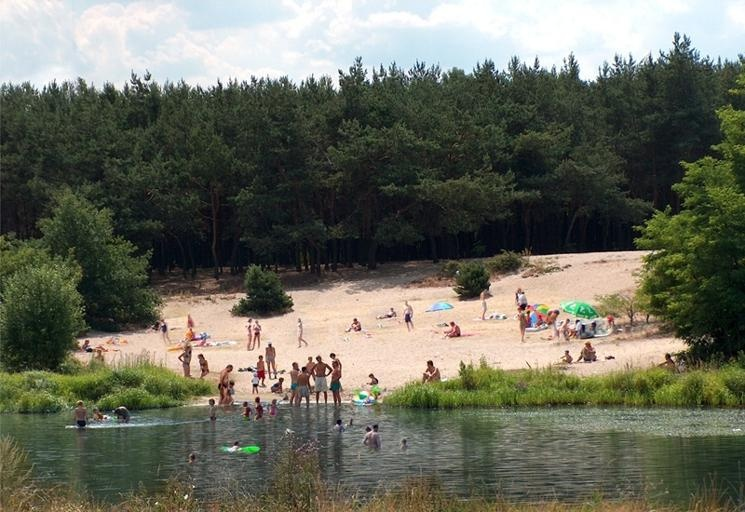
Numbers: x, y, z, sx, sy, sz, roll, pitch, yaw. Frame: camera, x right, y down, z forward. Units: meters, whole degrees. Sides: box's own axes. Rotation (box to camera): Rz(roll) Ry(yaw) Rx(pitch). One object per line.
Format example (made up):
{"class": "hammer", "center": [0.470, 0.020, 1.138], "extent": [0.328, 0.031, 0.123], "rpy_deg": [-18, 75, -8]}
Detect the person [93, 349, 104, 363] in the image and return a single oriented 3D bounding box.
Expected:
{"class": "person", "center": [-22.547, 8.111, 127.037], "extent": [0.905, 1.351, 0.899], "rpy_deg": [-1, 3, -44]}

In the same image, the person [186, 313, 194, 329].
{"class": "person", "center": [-16.198, 5.496, 136.903], "extent": [0.914, 0.901, 1.749], "rpy_deg": [2, -25, -5]}

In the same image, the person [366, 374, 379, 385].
{"class": "person", "center": [-0.010, 9.410, 119.963], "extent": [0.858, 0.861, 2.840], "rpy_deg": [-2, -4, 0]}

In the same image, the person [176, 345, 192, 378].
{"class": "person", "center": [-15.187, 8.478, 124.483], "extent": [0.875, 2.850, 1.240], "rpy_deg": [-25, -30, 28]}

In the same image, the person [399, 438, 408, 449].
{"class": "person", "center": [2.164, 12.936, 108.045], "extent": [0.547, 0.686, 1.088], "rpy_deg": [-2, -4, -1]}

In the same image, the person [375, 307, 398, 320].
{"class": "person", "center": [1.221, 5.055, 137.683], "extent": [1.571, 0.988, 0.919], "rpy_deg": [-4, 1, 11]}

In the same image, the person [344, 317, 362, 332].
{"class": "person", "center": [-1.690, 5.912, 134.151], "extent": [0.999, 1.947, 1.129], "rpy_deg": [5, -5, -23]}

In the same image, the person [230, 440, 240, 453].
{"class": "person", "center": [-9.670, 13.181, 108.204], "extent": [0.642, 0.734, 0.904], "rpy_deg": [-1, -4, -9]}

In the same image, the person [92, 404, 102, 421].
{"class": "person", "center": [-20.304, 11.489, 114.235], "extent": [0.738, 1.384, 0.904], "rpy_deg": [6, 11, 19]}

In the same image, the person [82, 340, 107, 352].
{"class": "person", "center": [-23.663, 7.652, 130.489], "extent": [1.202, 0.692, 1.578], "rpy_deg": [4, 0, -40]}

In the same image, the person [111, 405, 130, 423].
{"class": "person", "center": [-18.656, 11.605, 114.902], "extent": [1.277, 1.169, 3.212], "rpy_deg": [-1, -4, -10]}

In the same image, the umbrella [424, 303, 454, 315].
{"class": "umbrella", "center": [5.959, 4.442, 136.715], "extent": [2.331, 0.858, 1.655], "rpy_deg": [-2, -4, 3]}
